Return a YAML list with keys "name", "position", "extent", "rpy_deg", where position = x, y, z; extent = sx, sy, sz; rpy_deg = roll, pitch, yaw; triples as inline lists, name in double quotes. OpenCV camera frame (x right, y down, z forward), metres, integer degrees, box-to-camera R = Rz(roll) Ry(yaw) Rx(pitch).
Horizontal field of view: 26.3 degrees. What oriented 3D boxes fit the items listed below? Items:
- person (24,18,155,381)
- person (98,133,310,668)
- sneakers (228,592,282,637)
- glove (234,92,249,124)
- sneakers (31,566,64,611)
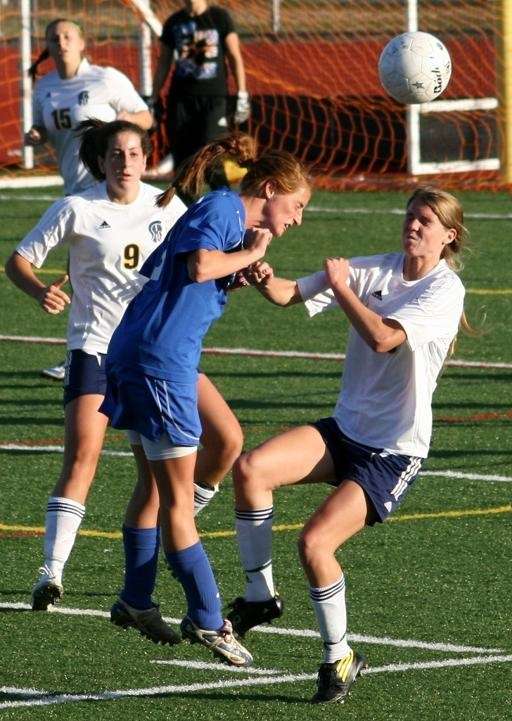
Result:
- name: "person"
  position: [-0.935, -0.999, 6.141]
  extent: [0.830, 1.755, 0.614]
  rpy_deg: [-1, 14, 11]
- name: "person"
  position: [-0.191, 0.132, 3.321]
  extent: [0.556, 1.608, 0.698]
  rpy_deg: [8, 16, -5]
- name: "sneakers"
  position: [-0.056, 0.802, 3.471]
  extent: [0.262, 0.073, 0.119]
  rpy_deg: [-6, -17, -15]
- name: "glove"
  position: [-0.111, -2.057, 8.787]
  extent: [0.121, 0.257, 0.221]
  rpy_deg: [4, 7, 5]
- name: "sneakers"
  position: [-0.688, 0.756, 3.605]
  extent: [0.078, 0.171, 0.121]
  rpy_deg: [10, 37, -11]
